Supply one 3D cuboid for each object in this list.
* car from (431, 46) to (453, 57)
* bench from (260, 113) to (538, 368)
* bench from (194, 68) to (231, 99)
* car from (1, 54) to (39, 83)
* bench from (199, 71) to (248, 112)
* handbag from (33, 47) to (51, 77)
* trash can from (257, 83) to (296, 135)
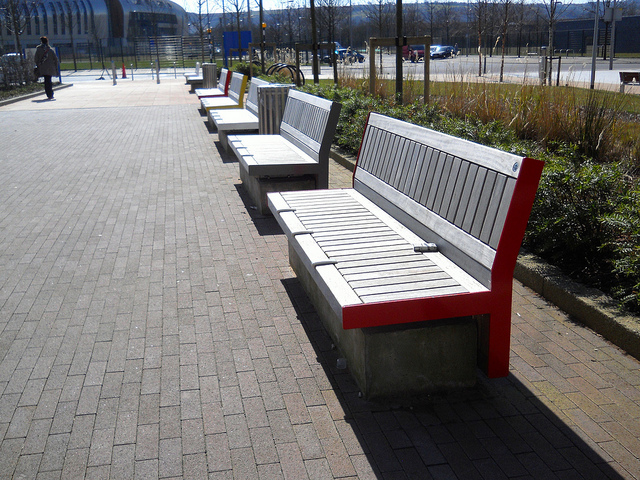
[{"bbox_3d":[13.424,-21.269,51.151,2.503,0.742,1.549,-16,27,-26],"label":"car"},{"bbox_3d":[0.521,0.034,3.488,0.915,1.095,2.153,-5,20,-11],"label":"bench"},{"bbox_3d":[-3.460,-5.325,15.261,1.045,0.784,1.784,-8,27,-17],"label":"bench"},{"bbox_3d":[-16.035,-9.320,24.979,0.697,1.600,3.773,-5,24,-9],"label":"car"},{"bbox_3d":[-2.533,-4.029,12.573,1.020,1.151,2.134,-4,22,-16],"label":"bench"},{"bbox_3d":[-12.393,-8.280,21.112,1.240,1.219,0.542,12,25,28],"label":"handbag"},{"bbox_3d":[-0.832,-2.526,8.808,0.592,0.871,0.486,-5,22,-8],"label":"trash can"}]
